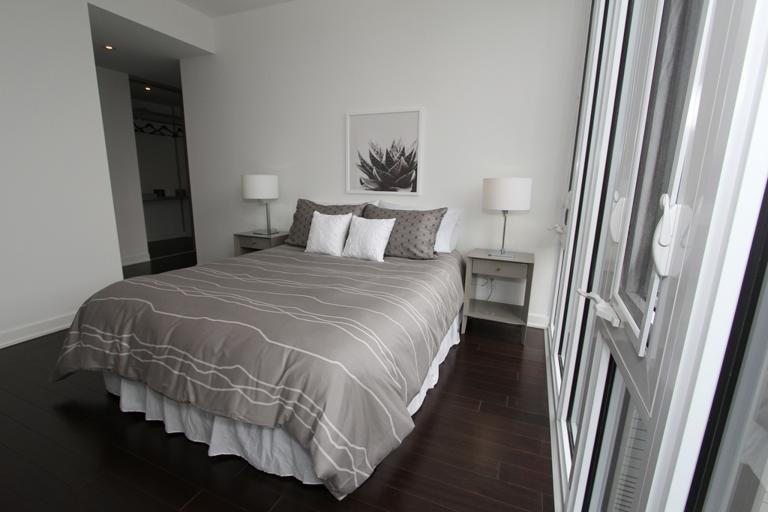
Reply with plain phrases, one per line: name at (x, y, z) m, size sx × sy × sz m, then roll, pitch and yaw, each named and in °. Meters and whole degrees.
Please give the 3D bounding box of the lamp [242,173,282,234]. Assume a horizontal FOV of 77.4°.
lamp at (-1.364, -0.588, 5.357) m, size 0.360 × 0.648 × 0.506 m, roll -1°, pitch 13°, yaw -8°

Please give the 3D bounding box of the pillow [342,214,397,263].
pillow at (-0.142, -0.162, 4.230) m, size 0.386 × 0.427 × 0.132 m, roll -1°, pitch -24°, yaw 27°

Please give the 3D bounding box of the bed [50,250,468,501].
bed at (-0.383, 0.314, 3.281) m, size 1.714 × 0.480 × 1.718 m, roll 7°, pitch 13°, yaw 23°

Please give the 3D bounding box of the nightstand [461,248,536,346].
nightstand at (1.039, 0.322, 4.375) m, size 0.572 × 0.745 × 0.537 m, roll 5°, pitch 13°, yaw 19°

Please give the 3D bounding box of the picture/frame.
picture/frame at (0.044, -1.095, 4.824) m, size 0.868 × 0.914 × 0.036 m, roll -5°, pitch 11°, yaw 11°
